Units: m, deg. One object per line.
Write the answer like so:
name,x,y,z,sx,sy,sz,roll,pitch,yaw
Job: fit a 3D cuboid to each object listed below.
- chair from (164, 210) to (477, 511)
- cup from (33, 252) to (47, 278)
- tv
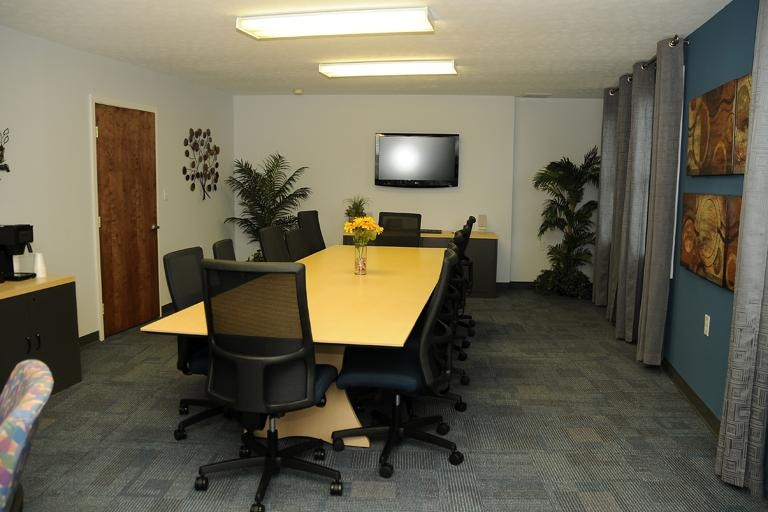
chair,-0.394,0.699,3.537,1.881,1.567,0.939,-5,15,-20
cup,-3.098,0.079,4.538,0.084,0.208,0.176,-11,18,-37
tv,0.504,-1.556,8.210,1.329,0.865,0.136,1,15,3
